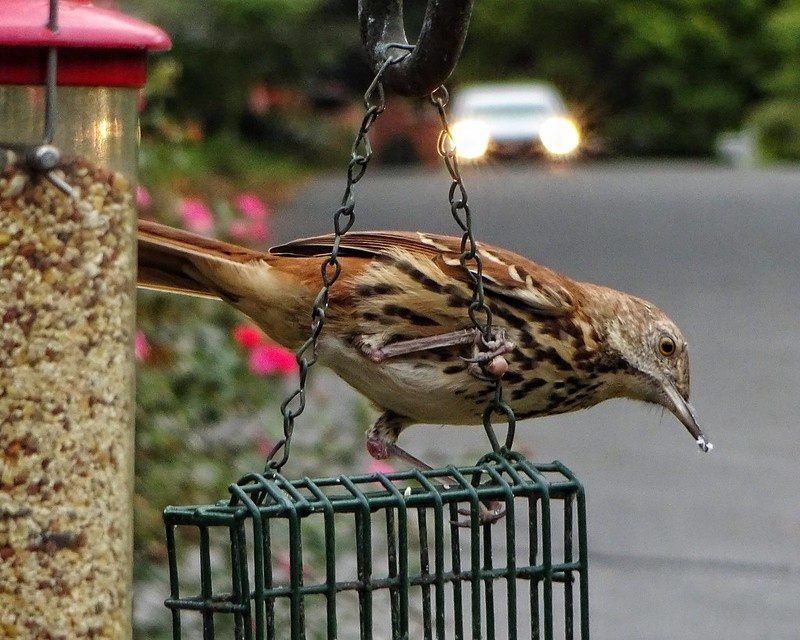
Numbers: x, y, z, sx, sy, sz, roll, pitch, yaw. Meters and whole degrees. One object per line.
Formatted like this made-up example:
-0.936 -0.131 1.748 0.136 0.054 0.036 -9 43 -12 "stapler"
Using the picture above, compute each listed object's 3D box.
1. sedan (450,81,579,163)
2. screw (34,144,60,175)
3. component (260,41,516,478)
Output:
0.796 -1.463 12.852 1.020 0.575 1.731 -2 -3 -1 "sedan"
-1.002 -0.449 4.519 0.075 0.087 0.074 2 9 4 "screw"
-0.015 -0.207 5.529 0.889 1.509 1.625 1 -6 -4 "component"
